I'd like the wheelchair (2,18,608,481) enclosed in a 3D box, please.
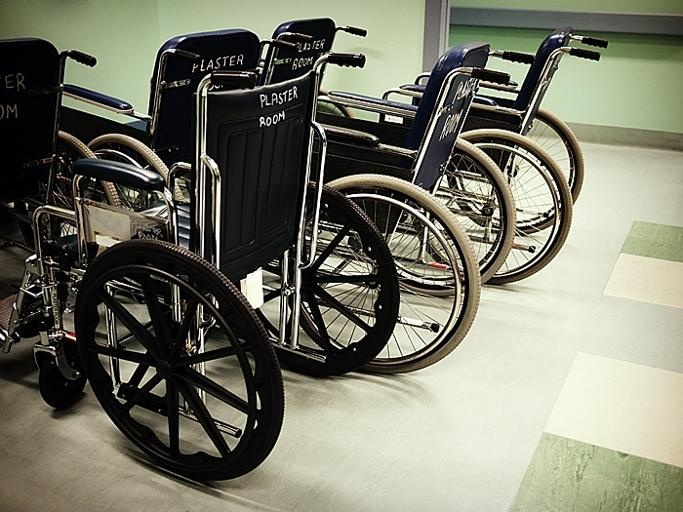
[{"bbox_3d":[-0.577,-0.102,2.154,1.813,1.535,1.027,19,22,25],"label":"wheelchair"}]
